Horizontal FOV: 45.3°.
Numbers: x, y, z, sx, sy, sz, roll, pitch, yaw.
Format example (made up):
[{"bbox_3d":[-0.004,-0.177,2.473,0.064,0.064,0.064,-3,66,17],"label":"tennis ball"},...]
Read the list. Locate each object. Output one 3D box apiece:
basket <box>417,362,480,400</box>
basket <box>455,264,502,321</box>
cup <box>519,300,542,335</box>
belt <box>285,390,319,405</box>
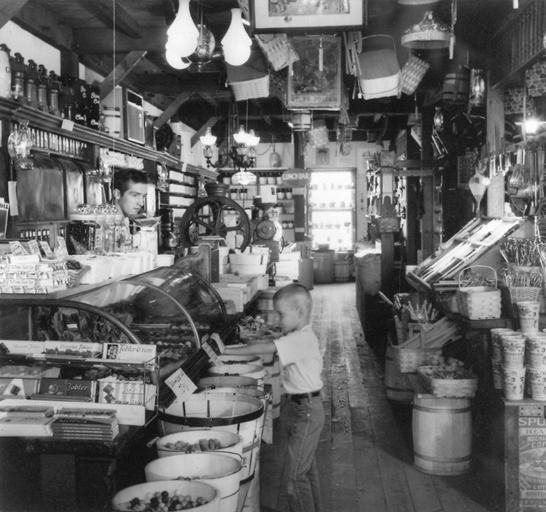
[{"bbox_3d":[1.123,0.806,4.255,0.348,0.147,0.483,-3,4,7],"label":"basket"},{"bbox_3d":[1.342,0.229,4.273,0.278,0.479,0.448,-1,4,6],"label":"basket"},{"bbox_3d":[1.466,0.350,3.744,0.148,0.244,0.154,0,0,0],"label":"cup"},{"bbox_3d":[0.162,0.729,3.429,0.187,0.056,0.126,-4,4,-5],"label":"belt"}]
